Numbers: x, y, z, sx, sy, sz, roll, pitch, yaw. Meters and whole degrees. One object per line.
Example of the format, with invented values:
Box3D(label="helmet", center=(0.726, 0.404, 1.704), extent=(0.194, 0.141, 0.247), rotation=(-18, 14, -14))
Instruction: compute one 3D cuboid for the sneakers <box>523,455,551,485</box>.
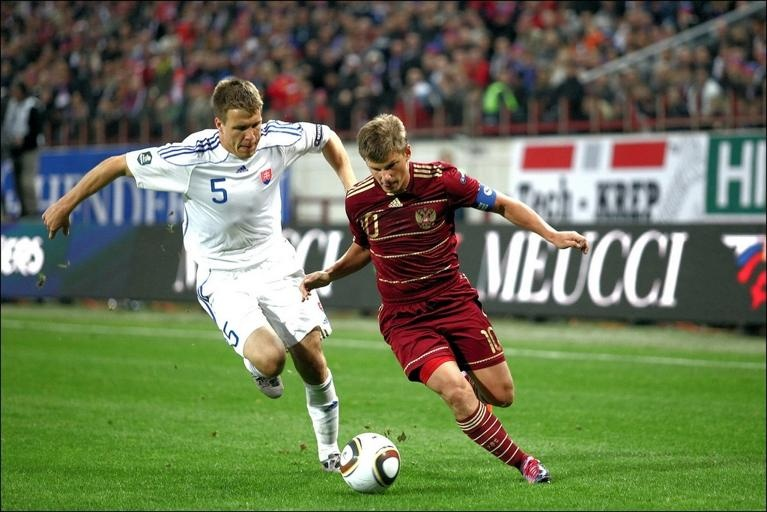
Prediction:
Box3D(label="sneakers", center=(1.434, 2.034, 9.476), extent=(0.129, 0.167, 0.305), rotation=(9, 32, -51))

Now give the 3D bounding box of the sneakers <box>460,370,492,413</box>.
Box3D(label="sneakers", center=(0.877, 1.285, 9.459), extent=(0.185, 0.136, 0.407), rotation=(37, 16, -43))

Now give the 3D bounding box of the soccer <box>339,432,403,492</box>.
Box3D(label="soccer", center=(-0.119, 1.984, 9.543), extent=(0.465, 0.504, 0.515), rotation=(-10, -16, 5))

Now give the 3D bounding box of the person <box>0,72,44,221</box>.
Box3D(label="person", center=(-6.133, -1.672, 16.941), extent=(0.647, 1.977, 0.656), rotation=(-3, 5, -11))
